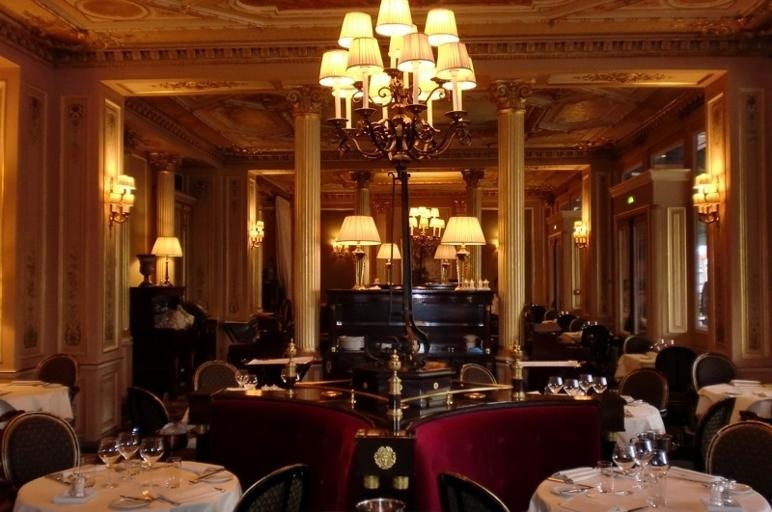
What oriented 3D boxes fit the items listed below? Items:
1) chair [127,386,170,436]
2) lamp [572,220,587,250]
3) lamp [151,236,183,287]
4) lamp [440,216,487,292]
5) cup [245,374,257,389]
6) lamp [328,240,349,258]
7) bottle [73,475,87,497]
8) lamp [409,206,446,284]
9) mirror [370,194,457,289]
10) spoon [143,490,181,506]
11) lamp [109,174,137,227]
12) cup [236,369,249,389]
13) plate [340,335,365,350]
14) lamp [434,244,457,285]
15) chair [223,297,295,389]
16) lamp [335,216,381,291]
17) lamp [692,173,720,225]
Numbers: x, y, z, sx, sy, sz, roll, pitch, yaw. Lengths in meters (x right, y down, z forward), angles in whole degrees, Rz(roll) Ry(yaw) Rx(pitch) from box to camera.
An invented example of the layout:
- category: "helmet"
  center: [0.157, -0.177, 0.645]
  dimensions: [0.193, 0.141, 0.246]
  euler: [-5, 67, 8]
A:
- category: "chair"
  center: [-2.297, 1.512, 6.373]
  dimensions: [0.264, 0.463, 0.634]
  euler: [7, -8, -37]
- category: "lamp"
  center: [4.218, -0.476, 14.350]
  dimensions: [0.251, 0.637, 0.865]
  euler: [0, -7, 14]
- category: "lamp"
  center: [-3.929, 0.124, 11.914]
  dimensions: [0.616, 0.802, 0.618]
  euler: [-9, -11, 30]
- category: "lamp"
  center: [0.912, -0.039, 7.961]
  dimensions: [0.625, 0.772, 0.599]
  euler: [1, -8, -24]
- category: "cup"
  center: [-1.272, 1.200, 6.330]
  dimensions: [0.115, 0.104, 0.111]
  euler: [0, -8, 0]
- category: "lamp"
  center: [-1.144, -0.167, 16.371]
  dimensions: [0.595, 0.705, 0.163]
  euler: [0, 5, -2]
- category: "bottle"
  center: [-2.222, 1.674, 4.812]
  dimensions: [0.136, 0.142, 0.131]
  euler: [1, -11, -14]
- category: "lamp"
  center: [0.883, -0.172, 15.895]
  dimensions: [0.869, 1.853, 0.828]
  euler: [1, -10, 15]
- category: "mirror"
  center: [0.806, 0.037, 14.646]
  dimensions: [1.835, 2.040, 1.757]
  euler: [5, 9, 14]
- category: "spoon"
  center: [-1.606, 1.745, 4.756]
  dimensions: [0.374, 0.052, 0.054]
  euler: [1, 11, 40]
- category: "lamp"
  center: [-3.581, -0.765, 9.027]
  dimensions: [0.286, 0.716, 0.380]
  euler: [2, -7, -1]
- category: "cup"
  center: [-1.370, 1.178, 6.313]
  dimensions: [0.120, 0.153, 0.208]
  euler: [6, -8, -35]
- category: "plate"
  center: [-0.444, 1.155, 8.790]
  dimensions: [0.274, 0.122, 0.264]
  euler: [1, -6, 8]
- category: "lamp"
  center: [0.849, 0.121, 9.353]
  dimensions: [0.359, 0.583, 0.351]
  euler: [-4, -10, 33]
- category: "chair"
  center: [-2.229, 1.619, 12.575]
  dimensions: [1.270, 2.016, 1.595]
  euler: [-1, -7, 12]
- category: "lamp"
  center: [-0.304, -0.023, 7.623]
  dimensions: [0.626, 0.771, 0.607]
  euler: [-3, -9, 25]
- category: "lamp"
  center: [4.305, -0.782, 8.950]
  dimensions: [0.258, 0.706, 0.451]
  euler: [1, -7, 5]
